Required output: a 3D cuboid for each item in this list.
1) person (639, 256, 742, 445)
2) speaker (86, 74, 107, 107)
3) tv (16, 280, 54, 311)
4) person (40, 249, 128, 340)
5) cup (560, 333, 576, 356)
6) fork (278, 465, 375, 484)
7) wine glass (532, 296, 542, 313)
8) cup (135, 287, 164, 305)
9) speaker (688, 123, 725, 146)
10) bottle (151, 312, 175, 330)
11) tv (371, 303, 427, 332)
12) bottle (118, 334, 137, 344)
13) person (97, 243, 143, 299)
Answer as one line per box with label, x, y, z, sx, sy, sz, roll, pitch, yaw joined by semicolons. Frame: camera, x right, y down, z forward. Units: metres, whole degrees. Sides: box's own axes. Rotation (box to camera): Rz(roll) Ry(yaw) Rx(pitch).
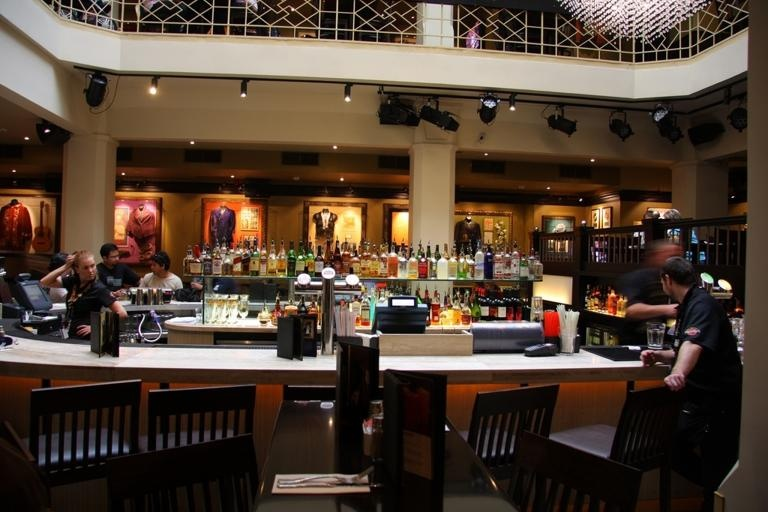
person;2.574;0.707;4.845;0.566;1.384;0.500;-1;-1;25
speaker;-4.086;-2.394;8.513;0.262;0.491;0.377;0;-1;-28
tv;-4.332;0.492;7.421;0.271;0.448;0.307;-20;-2;20
person;-3.388;0.461;6.790;0.842;1.159;0.346;3;-10;-2
cup;1.677;0.818;5.529;0.159;0.202;0.163;3;6;0
fork;-0.362;1.367;3.684;0.575;0.081;0.095;0;-1;-2
wine glass;1.524;0.485;5.929;0.093;0.166;0.179;0;-1;11
cup;-3.104;0.527;7.877;0.228;0.145;0.235;1;0;0
speaker;5.502;-2.110;10.241;0.348;0.359;0.493;8;-3;-18
bottle;-2.608;0.779;7.068;0.409;0.153;0.333;1;5;-5
tv;0.161;0.567;5.339;0.456;0.248;0.045;0;-1;0
bottle;-2.480;0.802;5.785;0.171;0.040;0.158;4;8;-1
person;-3.843;0.226;8.707;0.464;0.809;0.655;0;10;14
